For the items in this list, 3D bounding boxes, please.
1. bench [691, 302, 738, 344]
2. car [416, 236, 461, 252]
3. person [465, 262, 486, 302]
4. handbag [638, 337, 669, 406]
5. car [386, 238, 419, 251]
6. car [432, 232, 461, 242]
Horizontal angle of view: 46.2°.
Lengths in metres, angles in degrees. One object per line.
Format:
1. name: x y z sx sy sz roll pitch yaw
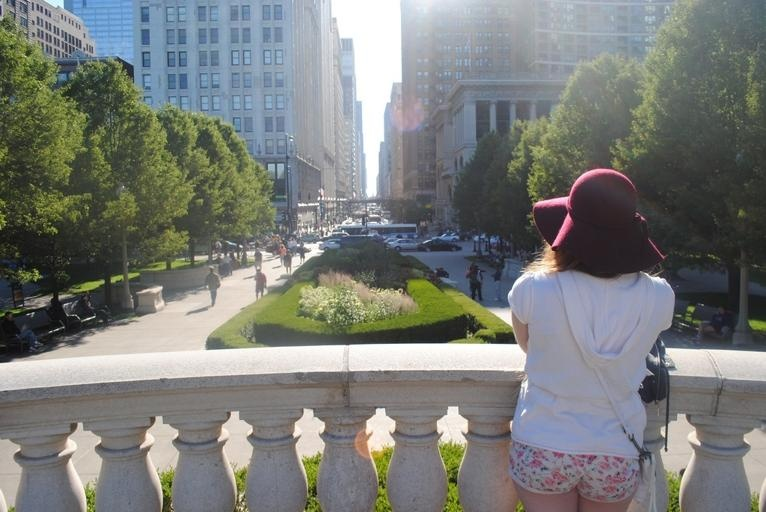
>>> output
1. bench: 12.637 2.597 34.361 1.511 1.239 1.030 7 12 40
2. car: 4.757 -0.909 78.349 3.457 0.859 1.764 0 9 5
3. person: 4.525 1.250 43.786 0.720 2.003 0.632 -3 25 13
4. handbag: 6.230 2.669 20.769 0.616 1.363 0.927 6 7 -2
5. car: 1.723 -0.967 79.546 2.521 0.943 1.238 -4 11 -7
6. car: 6.266 -2.102 87.632 2.862 1.047 1.271 2 0 -12
